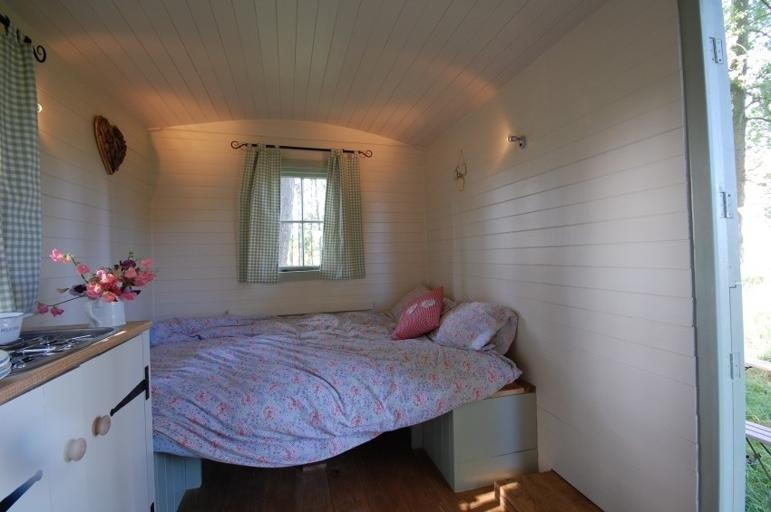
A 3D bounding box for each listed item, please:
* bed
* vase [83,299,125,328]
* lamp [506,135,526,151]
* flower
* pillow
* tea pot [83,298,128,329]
[{"bbox_3d":[-0.375,0.956,3.370,1.807,0.533,1.652,1,0,-11],"label":"bed"},{"bbox_3d":[-1.517,0.302,2.668,0.119,0.182,0.195,4,4,32],"label":"vase"},{"bbox_3d":[0.947,-0.835,3.531,0.108,0.117,0.035,0,5,34],"label":"lamp"},{"bbox_3d":[-1.624,0.152,2.784,0.604,0.338,0.538,11,5,-22],"label":"flower"},{"bbox_3d":[0.561,0.495,3.756,0.730,0.256,0.486,2,38,45],"label":"pillow"},{"bbox_3d":[-1.516,0.303,2.673,0.124,0.196,0.209,4,4,35],"label":"tea pot"}]
